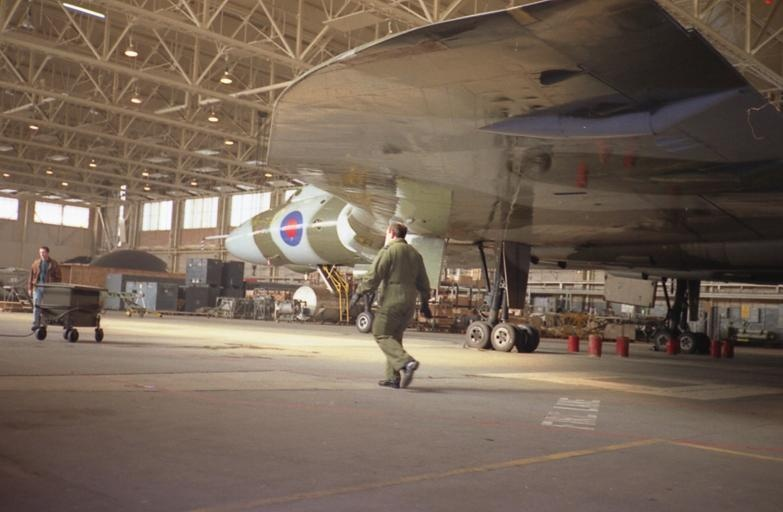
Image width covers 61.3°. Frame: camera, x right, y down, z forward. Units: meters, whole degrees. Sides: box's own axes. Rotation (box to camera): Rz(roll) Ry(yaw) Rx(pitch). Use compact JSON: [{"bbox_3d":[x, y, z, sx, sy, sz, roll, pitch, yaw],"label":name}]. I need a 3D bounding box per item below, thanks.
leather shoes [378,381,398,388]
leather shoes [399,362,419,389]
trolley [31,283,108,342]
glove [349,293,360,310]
[{"bbox_3d":[-0.054,1.801,9.345,0.271,0.097,0.091,1,0,-1],"label":"leather shoes"},{"bbox_3d":[0.211,1.661,9.281,0.234,0.168,0.491,18,-46,-1],"label":"leather shoes"},{"bbox_3d":[-6.326,1.095,13.005,0.941,0.842,1.091,-1,-7,13],"label":"trolley"},{"bbox_3d":[-0.529,0.617,9.274,0.146,0.217,0.064,10,29,-39],"label":"glove"}]
